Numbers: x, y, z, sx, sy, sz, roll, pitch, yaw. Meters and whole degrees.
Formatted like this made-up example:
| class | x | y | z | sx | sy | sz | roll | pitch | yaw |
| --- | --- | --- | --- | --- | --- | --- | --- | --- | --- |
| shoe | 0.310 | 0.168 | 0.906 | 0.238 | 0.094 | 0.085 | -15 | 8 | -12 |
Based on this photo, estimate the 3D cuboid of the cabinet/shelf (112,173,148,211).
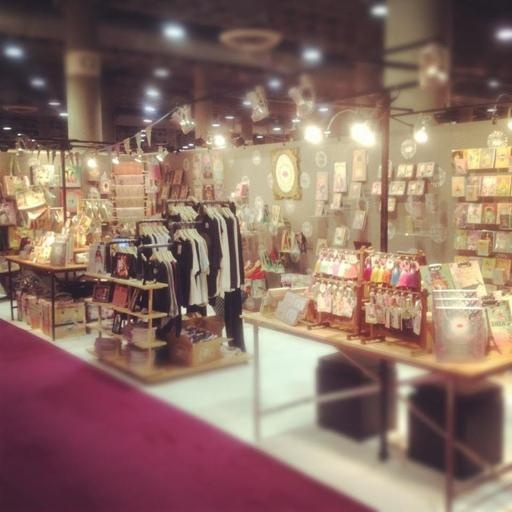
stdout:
| class | x | y | z | sx | sy | sz | roll | pitch | yaw |
| --- | --- | --- | --- | --- | --- | --- | --- | --- | --- |
| cabinet/shelf | -2.638 | -1.302 | 9.768 | 0.703 | 0.751 | 0.474 | 1 | -5 | -15 |

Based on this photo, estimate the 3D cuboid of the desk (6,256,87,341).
| class | x | y | z | sx | sy | sz | roll | pitch | yaw |
| --- | --- | --- | --- | --- | --- | --- | --- | --- | --- |
| desk | -2.840 | 0.572 | 6.360 | 0.417 | 0.714 | 1.056 | -1 | 4 | -41 |

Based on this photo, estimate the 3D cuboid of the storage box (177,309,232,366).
| class | x | y | z | sx | sy | sz | roll | pitch | yaw |
| --- | --- | --- | --- | --- | --- | --- | --- | --- | --- |
| storage box | -0.615 | 0.900 | 5.137 | 0.536 | 0.363 | 0.797 | -4 | 8 | -4 |

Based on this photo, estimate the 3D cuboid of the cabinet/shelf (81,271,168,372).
| class | x | y | z | sx | sy | sz | roll | pitch | yaw |
| --- | --- | --- | --- | --- | --- | --- | --- | --- | --- |
| cabinet/shelf | -1.374 | 0.703 | 4.895 | 0.327 | 0.736 | 0.991 | 0 | 2 | -32 |

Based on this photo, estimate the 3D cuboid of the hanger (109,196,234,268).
| class | x | y | z | sx | sy | sz | roll | pitch | yaw |
| --- | --- | --- | --- | --- | --- | --- | --- | --- | --- |
| hanger | -0.762 | -0.098 | 5.103 | 1.407 | 0.962 | 0.702 | -10 | 11 | -42 |
